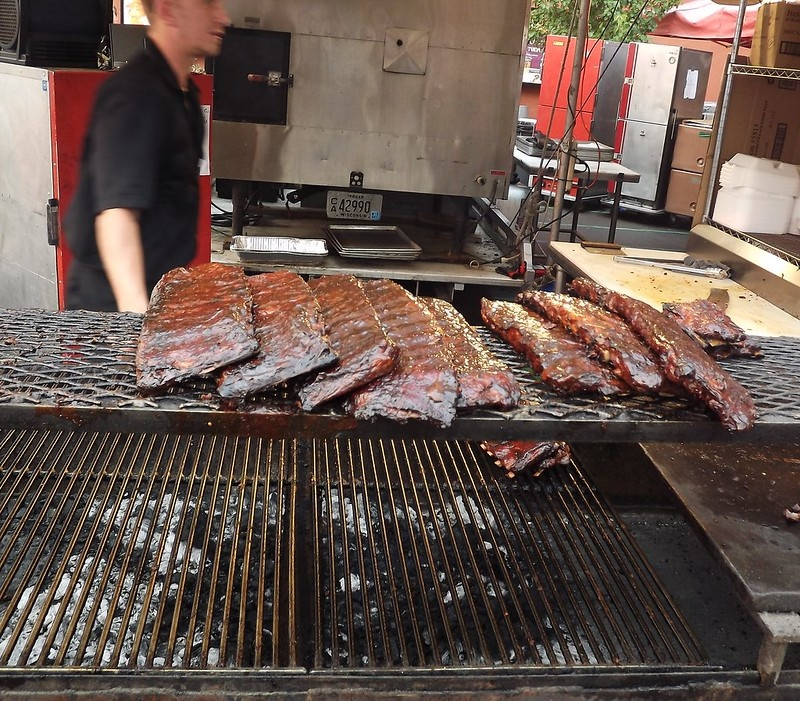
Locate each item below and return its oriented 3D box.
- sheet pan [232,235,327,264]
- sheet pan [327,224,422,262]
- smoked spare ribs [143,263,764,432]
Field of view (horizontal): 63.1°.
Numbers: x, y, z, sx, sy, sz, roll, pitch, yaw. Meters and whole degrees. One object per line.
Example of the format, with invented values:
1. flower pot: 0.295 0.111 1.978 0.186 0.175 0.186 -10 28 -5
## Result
1. sheet pan: -1.060 -0.892 5.680 0.587 0.122 0.387 1 26 -10
2. sheet pan: -0.285 -1.043 6.273 0.830 0.319 1.047 -5 14 -6
3. smoked spare ribs: 0.069 -0.024 1.930 1.606 0.446 0.700 -4 14 -6
